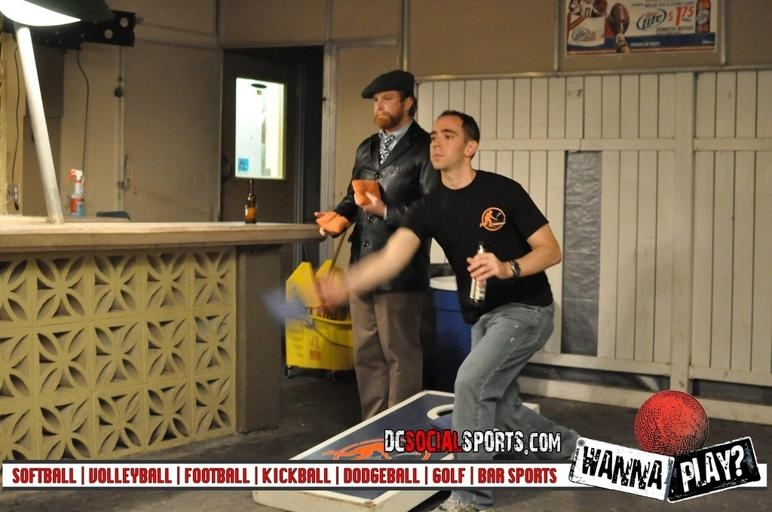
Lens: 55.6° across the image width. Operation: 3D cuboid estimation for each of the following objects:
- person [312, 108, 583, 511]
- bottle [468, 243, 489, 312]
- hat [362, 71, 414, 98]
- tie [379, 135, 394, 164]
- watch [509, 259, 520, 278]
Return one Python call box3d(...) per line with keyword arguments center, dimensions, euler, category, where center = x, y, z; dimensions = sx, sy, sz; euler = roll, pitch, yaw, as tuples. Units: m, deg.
box3d(center=(0.454, 0.256, 4.330), dimensions=(0.821, 2.211, 1.184), euler=(-4, 5, -38), category="person")
box3d(center=(0.490, 0.118, 3.945), dimensions=(0.088, 0.355, 0.249), euler=(-1, 4, 6), category="bottle")
box3d(center=(0.014, -1.136, 4.851), dimensions=(0.252, 0.094, 0.190), euler=(-2, 8, 15), category="hat")
box3d(center=(-0.003, -0.725, 4.945), dimensions=(0.109, 0.189, 0.048), euler=(5, -4, 39), category="tie")
box3d(center=(0.681, 0.067, 3.877), dimensions=(0.061, 0.093, 0.081), euler=(-10, -10, -9), category="watch")
